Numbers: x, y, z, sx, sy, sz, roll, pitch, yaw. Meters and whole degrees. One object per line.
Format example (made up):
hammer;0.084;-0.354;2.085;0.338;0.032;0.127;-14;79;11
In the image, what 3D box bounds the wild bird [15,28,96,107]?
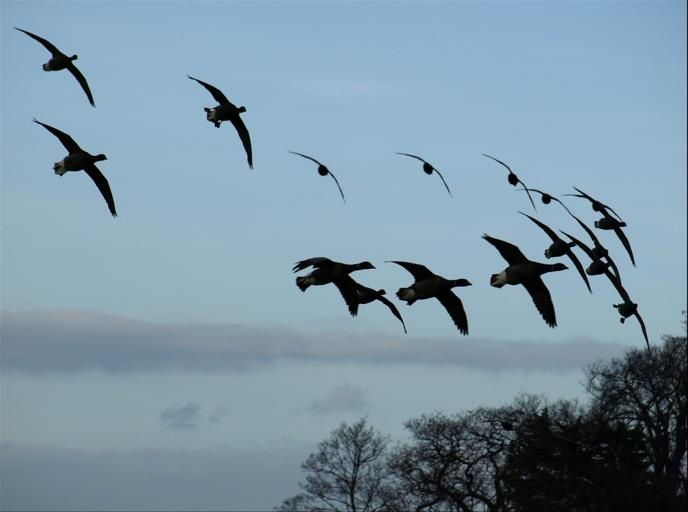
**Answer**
wild bird;-9.046;-6.186;48.749;3.239;1.535;0.496;47;-18;-5
